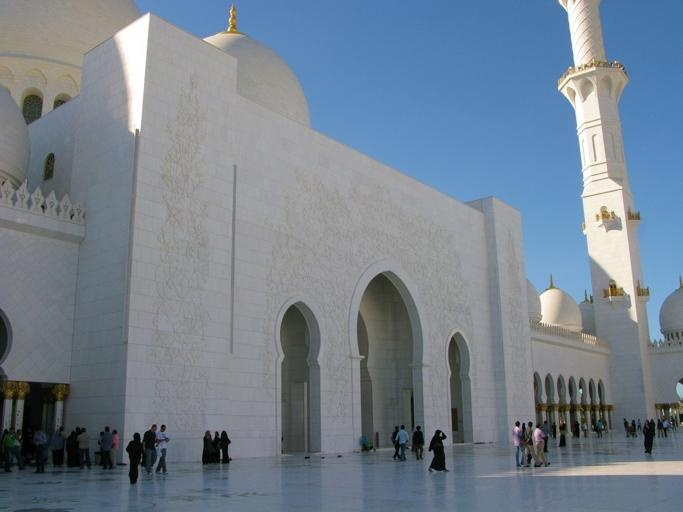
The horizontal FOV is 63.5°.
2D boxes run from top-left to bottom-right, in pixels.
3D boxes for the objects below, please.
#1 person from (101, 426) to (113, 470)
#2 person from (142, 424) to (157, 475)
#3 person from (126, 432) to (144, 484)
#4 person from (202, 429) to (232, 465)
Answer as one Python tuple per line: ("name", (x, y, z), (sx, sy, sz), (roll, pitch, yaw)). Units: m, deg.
("person", (-4.952, 4.021, 11.603), (0.232, 0.819, 0.439), (4, -19, -19))
("person", (-3.675, 3.661, 10.505), (0.238, 0.885, 0.686), (4, -19, -19))
("person", (-3.445, 3.325, 9.123), (0.216, 0.800, 0.689), (5, -19, -20))
("person", (-2.928, 4.403, 12.729), (0.257, 0.749, 0.712), (-7, -15, 28))
